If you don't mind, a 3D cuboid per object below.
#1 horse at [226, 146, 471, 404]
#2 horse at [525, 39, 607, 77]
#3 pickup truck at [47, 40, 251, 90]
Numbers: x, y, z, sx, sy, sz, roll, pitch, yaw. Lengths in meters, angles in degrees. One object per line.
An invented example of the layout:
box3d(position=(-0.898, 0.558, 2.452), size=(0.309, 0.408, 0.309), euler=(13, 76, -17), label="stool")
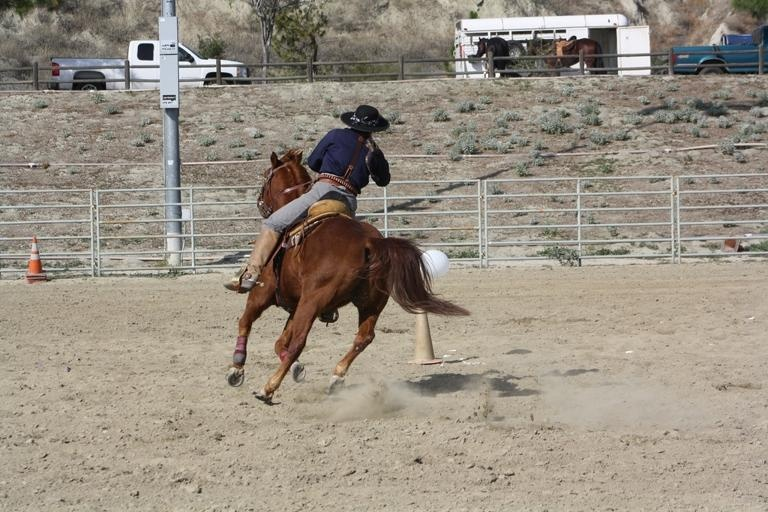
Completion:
box3d(position=(-1.139, 0.449, 24.461), size=(4.232, 5.181, 1.479), euler=(-1, 4, 2), label="horse")
box3d(position=(7.195, -8.161, 46.727), size=(2.923, 1.506, 2.930), euler=(0, 4, 18), label="horse")
box3d(position=(-9.219, -7.844, 47.560), size=(8.261, 2.455, 2.835), euler=(0, 20, 7), label="pickup truck")
